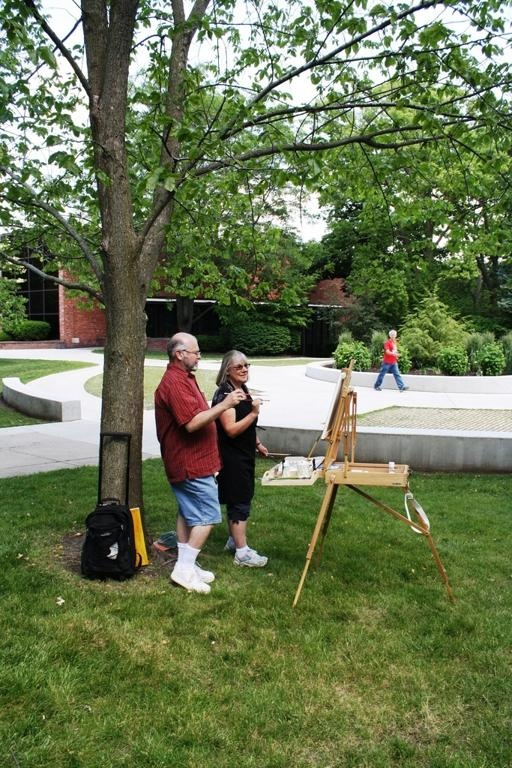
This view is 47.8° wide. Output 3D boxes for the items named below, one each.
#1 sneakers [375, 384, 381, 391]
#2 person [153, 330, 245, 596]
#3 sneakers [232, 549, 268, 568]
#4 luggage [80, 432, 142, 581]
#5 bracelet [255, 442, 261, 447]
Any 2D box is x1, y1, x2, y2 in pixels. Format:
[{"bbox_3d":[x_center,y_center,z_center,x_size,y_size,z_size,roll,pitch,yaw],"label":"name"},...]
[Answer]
[{"bbox_3d":[3.846,0.110,18.178,0.119,0.236,0.349,0,-3,-10],"label":"sneakers"},{"bbox_3d":[-0.420,0.538,3.834,0.537,1.742,0.604,2,3,-10],"label":"person"},{"bbox_3d":[-0.059,1.337,4.458,0.275,0.138,0.114,1,4,-5],"label":"sneakers"},{"bbox_3d":[-1.012,0.850,4.039,0.404,0.970,0.544,2,3,-5],"label":"luggage"},{"bbox_3d":[0.016,0.473,4.601,0.025,0.029,0.074,-2,-16,-2],"label":"bracelet"}]
